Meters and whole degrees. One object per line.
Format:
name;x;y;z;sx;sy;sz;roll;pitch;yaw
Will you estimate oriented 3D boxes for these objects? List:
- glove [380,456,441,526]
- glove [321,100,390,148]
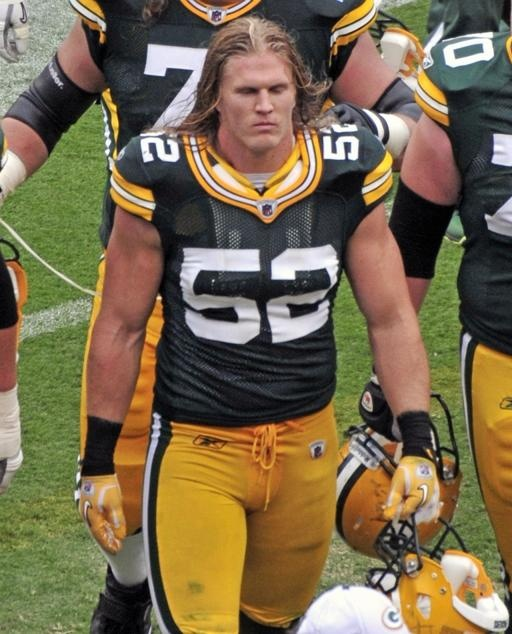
glove;0.324;0.354;1.544;0.080;0.128;0.165;3;64;39
glove;0.253;-0.478;1.710;0.069;0.180;0.106;-61;25;17
